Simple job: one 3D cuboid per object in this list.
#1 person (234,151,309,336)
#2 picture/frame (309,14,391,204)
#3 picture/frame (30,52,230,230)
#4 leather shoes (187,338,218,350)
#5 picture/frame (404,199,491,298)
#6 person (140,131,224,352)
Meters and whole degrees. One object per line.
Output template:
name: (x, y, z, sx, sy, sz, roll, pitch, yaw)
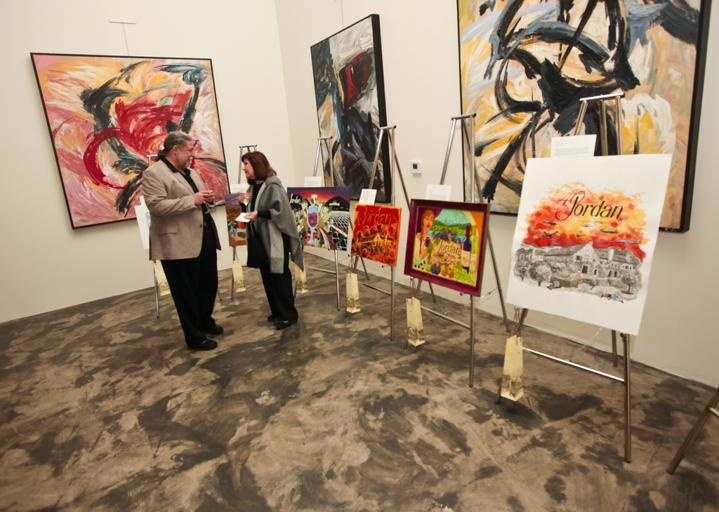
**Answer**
person: (-0.851, -0.145, 4.583, 0.535, 1.718, 0.470, -4, 16, -9)
picture/frame: (-0.110, -1.728, 5.701, 0.345, 2.059, 1.475, -9, 17, -24)
picture/frame: (-2.842, -1.393, 5.504, 2.103, 2.172, 0.034, -14, 15, -31)
leather shoes: (-1.488, 0.836, 4.449, 0.264, 0.110, 0.116, -4, 10, 8)
picture/frame: (0.748, -0.088, 3.856, 0.067, 0.807, 0.879, 1, 10, -42)
person: (-1.608, -0.109, 4.311, 0.634, 2.004, 0.475, -9, 17, -25)
